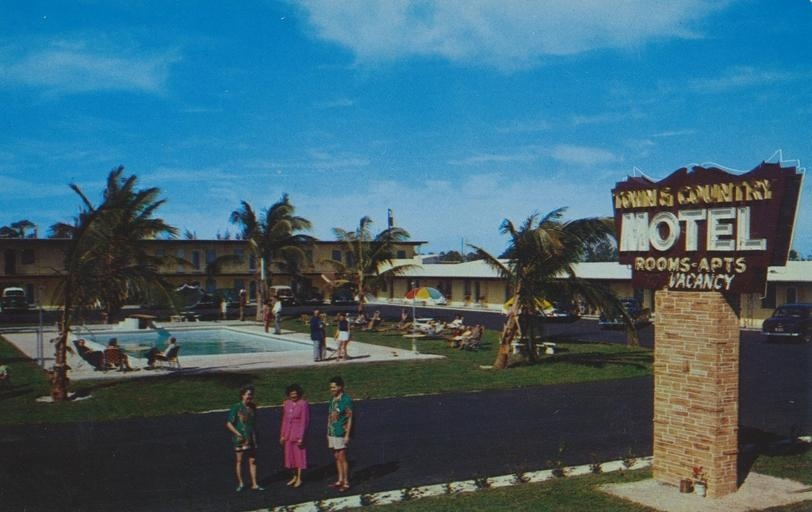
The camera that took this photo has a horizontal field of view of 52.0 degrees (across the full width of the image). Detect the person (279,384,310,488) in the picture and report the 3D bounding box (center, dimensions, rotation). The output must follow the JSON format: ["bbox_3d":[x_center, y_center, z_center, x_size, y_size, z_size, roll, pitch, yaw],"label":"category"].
[{"bbox_3d":[-2.921,4.738,21.856,0.644,2.669,0.480,3,13,13],"label":"person"}]

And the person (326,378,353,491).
[{"bbox_3d":[-1.715,4.643,21.916,0.649,2.887,0.950,-1,13,-5],"label":"person"}]

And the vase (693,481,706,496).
[{"bbox_3d":[7.684,6.108,21.918,0.345,0.263,0.333,1,-4,-2],"label":"vase"}]

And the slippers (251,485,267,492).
[{"bbox_3d":[-3.839,6.075,21.771,0.355,0.206,0.124,-3,2,2],"label":"slippers"}]

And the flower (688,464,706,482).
[{"bbox_3d":[7.567,5.690,21.780,0.410,0.354,0.135,-9,-18,42],"label":"flower"}]

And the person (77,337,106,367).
[{"bbox_3d":[-11.998,3.798,31.810,1.508,1.218,0.632,11,16,41],"label":"person"}]

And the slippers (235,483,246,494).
[{"bbox_3d":[-4.333,6.089,21.767,0.269,0.155,0.502,0,-2,2],"label":"slippers"}]

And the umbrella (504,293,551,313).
[{"bbox_3d":[4.808,1.912,32.573,1.775,0.851,1.480,2,11,7],"label":"umbrella"}]

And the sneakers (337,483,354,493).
[{"bbox_3d":[-1.602,6.095,21.856,0.282,0.149,0.611,0,-4,4],"label":"sneakers"}]
